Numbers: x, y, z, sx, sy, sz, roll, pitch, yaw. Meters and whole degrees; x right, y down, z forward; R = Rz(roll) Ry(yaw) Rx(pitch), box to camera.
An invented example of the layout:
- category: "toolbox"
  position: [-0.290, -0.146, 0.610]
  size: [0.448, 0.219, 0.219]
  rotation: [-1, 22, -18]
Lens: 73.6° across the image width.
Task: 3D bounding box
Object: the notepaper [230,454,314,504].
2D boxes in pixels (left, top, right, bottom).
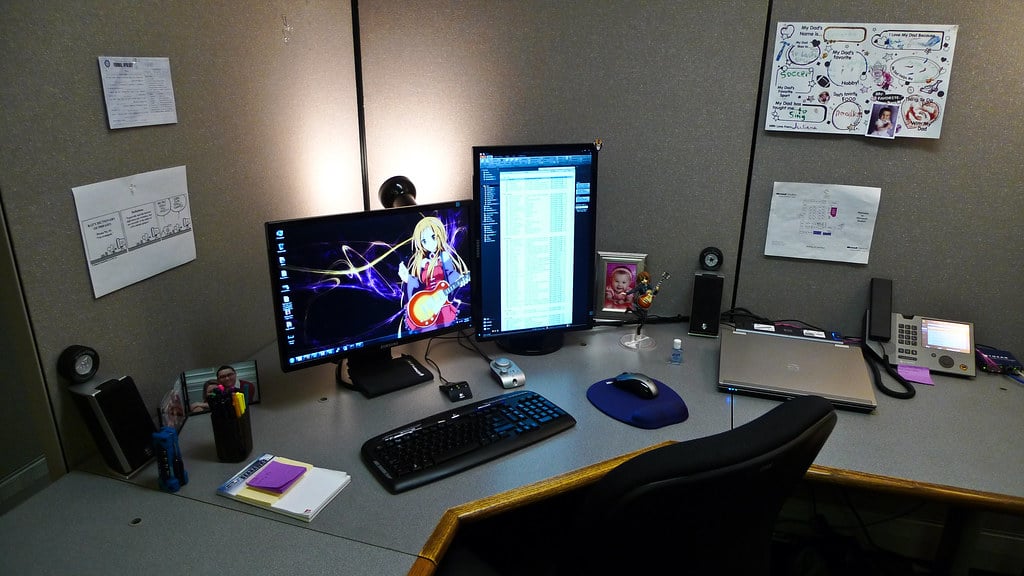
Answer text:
- category: "notepaper"
  position: [-0.780, 0.619, 2.206]
  size: [0.212, 0.070, 0.160]
  rotation: [5, 20, 14]

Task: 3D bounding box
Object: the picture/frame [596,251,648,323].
- category: "picture/frame"
  position: [0.471, -0.004, 2.936]
  size: [0.241, 0.288, 0.045]
  rotation: [4, 4, 36]

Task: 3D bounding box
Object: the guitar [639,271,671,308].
- category: "guitar"
  position: [0.601, 0.010, 2.928]
  size: [0.092, 0.147, 0.177]
  rotation: [11, 23, 26]

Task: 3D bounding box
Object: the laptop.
- category: "laptop"
  position: [1.067, 0.314, 2.627]
  size: [0.560, 0.079, 0.339]
  rotation: [7, 37, 7]

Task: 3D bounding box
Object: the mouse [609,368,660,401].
- category: "mouse"
  position: [0.462, 0.348, 2.521]
  size: [0.085, 0.042, 0.142]
  rotation: [-16, 29, -43]

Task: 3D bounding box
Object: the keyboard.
- category: "keyboard"
  position: [-0.148, 0.504, 2.397]
  size: [0.710, 0.076, 0.309]
  rotation: [-13, 28, -32]

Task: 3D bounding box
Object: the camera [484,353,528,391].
- category: "camera"
  position: [-0.023, 0.326, 2.638]
  size: [0.086, 0.059, 0.139]
  rotation: [-12, 25, -24]

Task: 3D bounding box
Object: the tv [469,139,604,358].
- category: "tv"
  position: [0.078, -0.150, 2.745]
  size: [0.654, 0.773, 0.182]
  rotation: [-1, 1, -30]

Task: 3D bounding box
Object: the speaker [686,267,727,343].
- category: "speaker"
  position: [0.877, 0.068, 2.917]
  size: [0.184, 0.283, 0.198]
  rotation: [10, 11, 39]

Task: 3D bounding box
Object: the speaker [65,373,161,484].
- category: "speaker"
  position: [-1.270, 0.441, 2.214]
  size: [0.177, 0.312, 0.156]
  rotation: [16, 27, 35]

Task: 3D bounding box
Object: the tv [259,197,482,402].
- category: "tv"
  position: [-0.462, 0.041, 2.549]
  size: [0.848, 0.631, 0.291]
  rotation: [-13, 19, -40]
